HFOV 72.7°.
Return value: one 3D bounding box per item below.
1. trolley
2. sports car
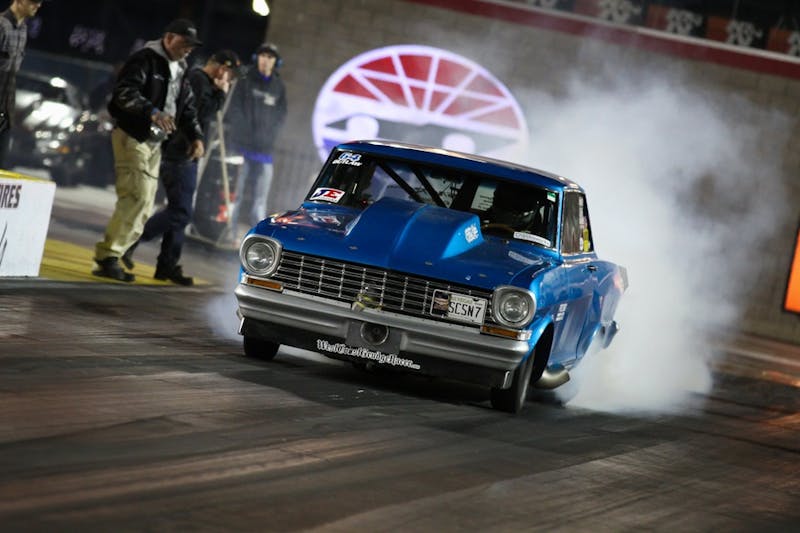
[{"bbox_3d":[-3.894,-1.400,11.457,1.256,2.262,1.087,-12,33,-20],"label":"trolley"},{"bbox_3d":[0.507,-0.358,5.859,2.590,1.530,4.171,13,15,17],"label":"sports car"}]
